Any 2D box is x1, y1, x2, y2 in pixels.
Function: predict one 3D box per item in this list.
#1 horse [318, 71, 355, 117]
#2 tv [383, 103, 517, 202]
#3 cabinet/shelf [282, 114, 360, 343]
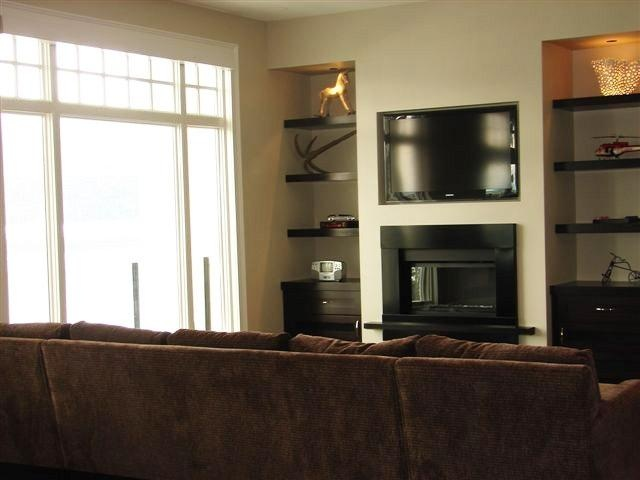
[{"bbox_3d":[0.183,-1.584,6.502,0.377,0.452,0.244,1,4,41],"label":"horse"},{"bbox_3d":[1.295,-0.854,5.897,0.059,0.891,1.565,-14,14,-41],"label":"tv"},{"bbox_3d":[0.085,-0.134,6.756,0.939,2.580,0.735,0,3,20],"label":"cabinet/shelf"}]
